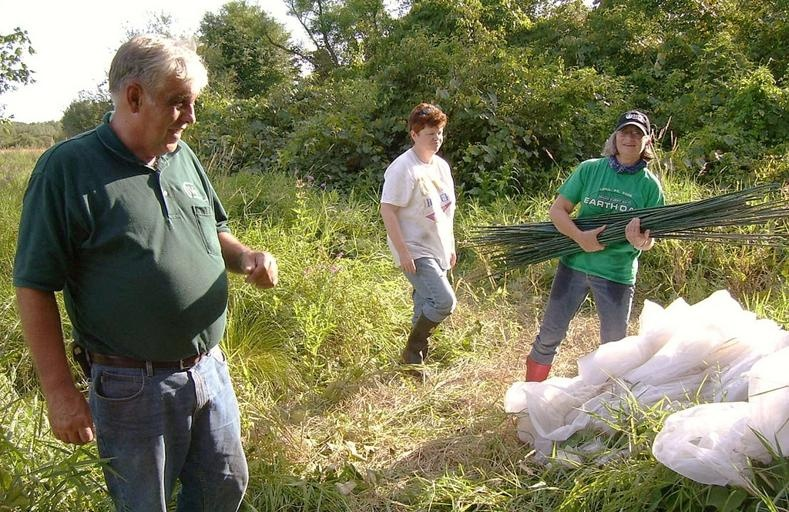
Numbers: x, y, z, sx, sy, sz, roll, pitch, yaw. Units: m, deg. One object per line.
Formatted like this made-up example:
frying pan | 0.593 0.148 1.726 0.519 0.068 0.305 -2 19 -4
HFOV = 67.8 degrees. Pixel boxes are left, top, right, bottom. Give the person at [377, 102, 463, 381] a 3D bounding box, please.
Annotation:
person | 0.203 -0.158 4.956 0.585 2.011 0.422 -2 0 5

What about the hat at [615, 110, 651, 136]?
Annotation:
hat | 1.747 -0.982 4.273 0.172 0.136 0.246 16 3 31

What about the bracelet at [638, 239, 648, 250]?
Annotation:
bracelet | 1.768 -0.088 4.200 0.055 0.070 0.071 2 -4 -8

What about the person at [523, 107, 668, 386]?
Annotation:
person | 1.477 -0.044 4.401 0.950 2.026 0.387 -2 0 24
